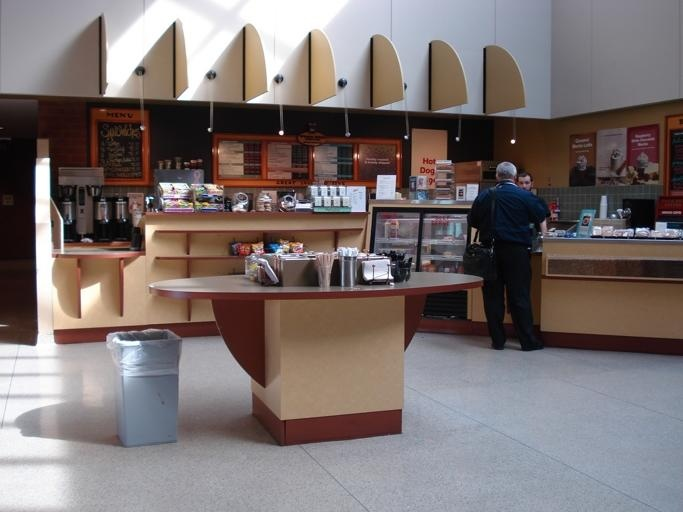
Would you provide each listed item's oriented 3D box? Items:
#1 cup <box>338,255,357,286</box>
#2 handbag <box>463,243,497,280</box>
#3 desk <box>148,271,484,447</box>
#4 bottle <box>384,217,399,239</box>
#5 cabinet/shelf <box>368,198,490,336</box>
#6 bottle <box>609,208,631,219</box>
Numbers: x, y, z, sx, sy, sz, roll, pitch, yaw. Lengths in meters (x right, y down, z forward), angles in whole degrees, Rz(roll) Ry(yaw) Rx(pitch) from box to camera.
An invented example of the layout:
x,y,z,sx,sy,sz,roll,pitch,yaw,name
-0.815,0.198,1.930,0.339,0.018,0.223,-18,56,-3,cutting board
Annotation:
x,y,z,sx,sy,sz,roll,pitch,yaw,name
0.058,0.101,3.819,0.128,0.197,0.124,0,6,0,cup
1.497,0.066,6.089,0.369,0.465,0.235,-2,-2,32,handbag
-0.150,0.730,4.005,1.778,1.127,0.817,-1,6,-8,desk
0.702,-0.379,7.549,0.198,0.373,0.284,1,4,17,bottle
0.986,0.115,5.944,1.588,1.763,0.559,2,2,14,cabinet/shelf
3.750,-0.574,7.624,0.204,0.114,0.283,2,3,30,bottle
